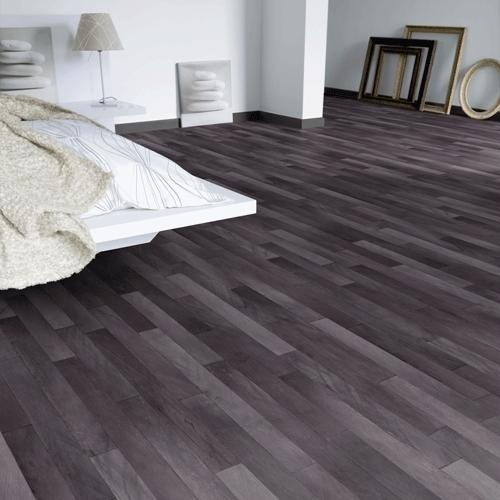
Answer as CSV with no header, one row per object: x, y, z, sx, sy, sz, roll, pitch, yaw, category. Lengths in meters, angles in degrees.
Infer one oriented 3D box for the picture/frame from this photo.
2.651,-2.556,6.427,0.251,0.953,2.149,-3,16,-43,picture/frame
